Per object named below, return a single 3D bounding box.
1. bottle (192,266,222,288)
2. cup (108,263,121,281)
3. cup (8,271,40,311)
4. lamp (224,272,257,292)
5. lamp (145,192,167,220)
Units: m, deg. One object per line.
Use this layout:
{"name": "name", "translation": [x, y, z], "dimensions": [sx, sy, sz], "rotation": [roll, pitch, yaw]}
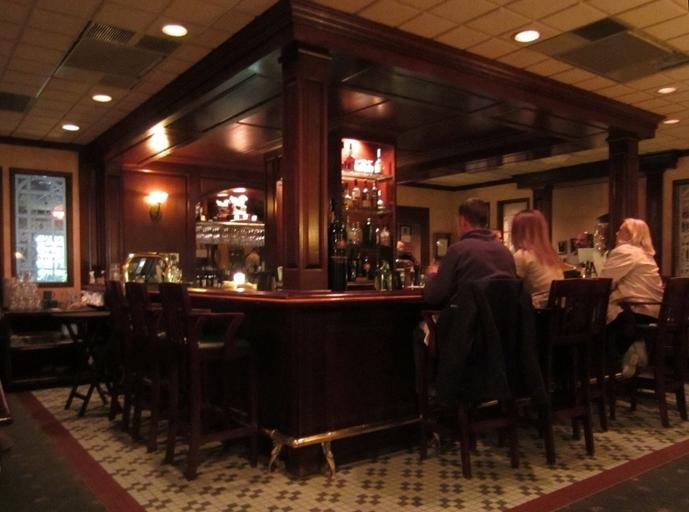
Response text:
{"name": "bottle", "translation": [-2.538, 0.376, 10.800], "dimensions": [0.328, 0.324, 0.184], "rotation": [5, 10, 30]}
{"name": "cup", "translation": [-2.984, 0.206, 7.682], "dimensions": [0.187, 0.318, 0.174], "rotation": [1, 5, 0]}
{"name": "cup", "translation": [-4.234, 0.461, 7.788], "dimensions": [0.475, 0.471, 0.379], "rotation": [1, -2, -14]}
{"name": "lamp", "translation": [-1.229, 0.320, 6.864], "dimensions": [0.335, 0.118, 0.333], "rotation": [1, -3, -6]}
{"name": "lamp", "translation": [-3.243, -0.874, 10.322], "dimensions": [0.403, 0.517, 0.180], "rotation": [-3, 6, -29]}
